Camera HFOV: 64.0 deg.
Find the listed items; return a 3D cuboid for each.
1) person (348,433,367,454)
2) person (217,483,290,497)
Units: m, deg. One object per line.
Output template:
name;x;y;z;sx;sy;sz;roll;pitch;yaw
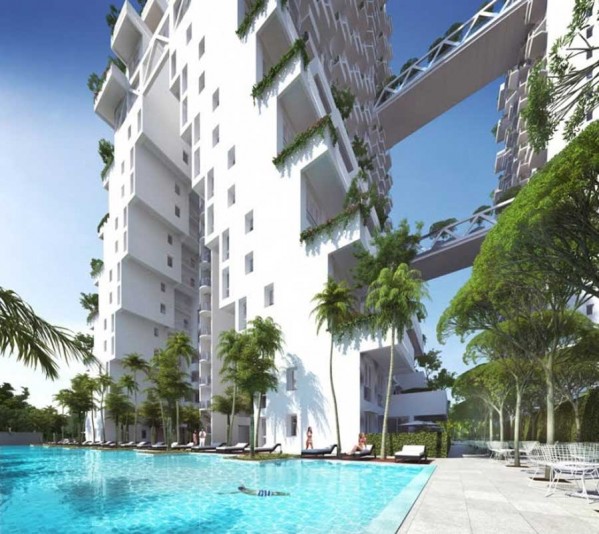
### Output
person;3.527;10.438;28.379;0.718;1.316;2.905;-4;-25;11
person;-1.536;7.822;16.769;2.620;0.390;1.480;-13;-28;24
